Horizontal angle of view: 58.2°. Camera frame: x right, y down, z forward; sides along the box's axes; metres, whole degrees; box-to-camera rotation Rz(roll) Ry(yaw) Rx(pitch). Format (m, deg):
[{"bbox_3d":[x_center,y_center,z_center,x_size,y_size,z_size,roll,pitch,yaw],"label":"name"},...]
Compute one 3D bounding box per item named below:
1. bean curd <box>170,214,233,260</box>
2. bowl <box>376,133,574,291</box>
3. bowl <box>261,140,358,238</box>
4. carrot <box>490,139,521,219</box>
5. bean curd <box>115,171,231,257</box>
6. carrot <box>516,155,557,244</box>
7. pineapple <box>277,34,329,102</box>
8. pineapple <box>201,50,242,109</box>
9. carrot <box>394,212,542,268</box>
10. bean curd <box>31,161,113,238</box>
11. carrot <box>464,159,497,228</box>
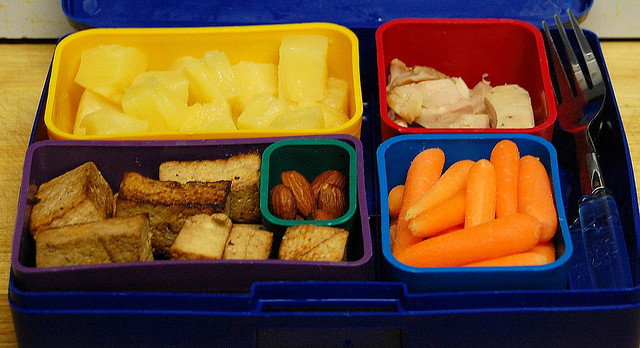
[{"bbox_3d":[-0.414,0.213,1.963,0.178,0.076,0.148,3,48,-2],"label":"bean curd"},{"bbox_3d":[0.542,0.139,2.027,0.687,0.309,0.563,3,48,-2],"label":"bowl"},{"bbox_3d":[-0.051,0.065,2.076,0.348,0.125,0.414,8,52,7],"label":"bowl"},{"bbox_3d":[0.662,0.018,2.046,0.098,0.101,0.256,-2,74,30],"label":"carrot"},{"bbox_3d":[-0.542,0.192,2.141,0.470,0.311,0.251,4,36,-3],"label":"bean curd"},{"bbox_3d":[0.771,0.067,2.112,0.148,0.148,0.368,6,36,6],"label":"carrot"},{"bbox_3d":[-0.073,-0.440,2.409,0.202,0.173,0.242,1,48,-4],"label":"pineapple"},{"bbox_3d":[-0.418,-0.411,2.424,0.150,0.061,0.241,-21,89,-23],"label":"pineapple"},{"bbox_3d":[0.524,0.245,1.976,0.508,0.135,0.149,-12,20,-7],"label":"carrot"},{"bbox_3d":[-0.925,0.100,2.102,0.174,0.257,0.259,51,46,-5],"label":"bean curd"},{"bbox_3d":[0.558,0.067,2.004,0.078,0.086,0.255,26,62,-30],"label":"carrot"}]
